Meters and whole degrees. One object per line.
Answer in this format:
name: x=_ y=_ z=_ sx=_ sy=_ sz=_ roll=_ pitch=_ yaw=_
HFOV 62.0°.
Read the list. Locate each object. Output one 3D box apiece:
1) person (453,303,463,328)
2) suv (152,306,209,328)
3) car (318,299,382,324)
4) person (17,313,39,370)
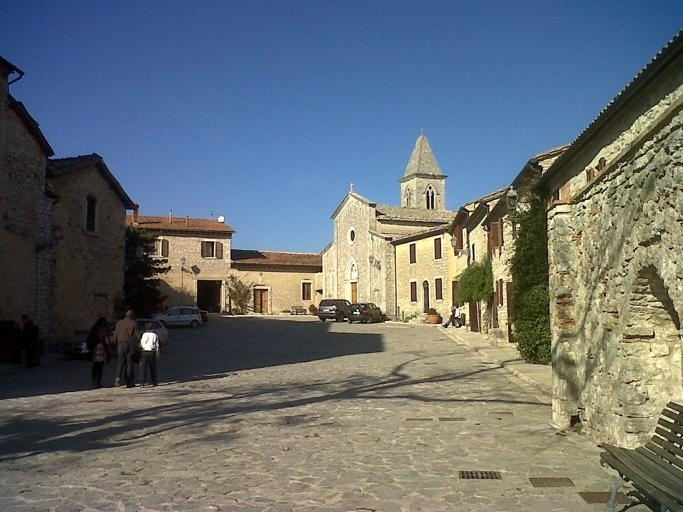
person: x=6.925 y=3.528 z=33.750 sx=0.578 sy=1.227 sz=1.110 roll=-1 pitch=-2 yaw=11
suv: x=-9.322 y=3.503 z=33.154 sx=2.054 sy=1.115 sz=1.569 roll=0 pitch=-3 yaw=0
car: x=0.717 y=3.812 z=39.757 sx=2.765 sy=1.565 sz=4.522 roll=2 pitch=-4 yaw=-41
person: x=-9.020 y=2.454 z=16.515 sx=0.490 sy=1.420 sz=0.814 roll=1 pitch=-2 yaw=-34
